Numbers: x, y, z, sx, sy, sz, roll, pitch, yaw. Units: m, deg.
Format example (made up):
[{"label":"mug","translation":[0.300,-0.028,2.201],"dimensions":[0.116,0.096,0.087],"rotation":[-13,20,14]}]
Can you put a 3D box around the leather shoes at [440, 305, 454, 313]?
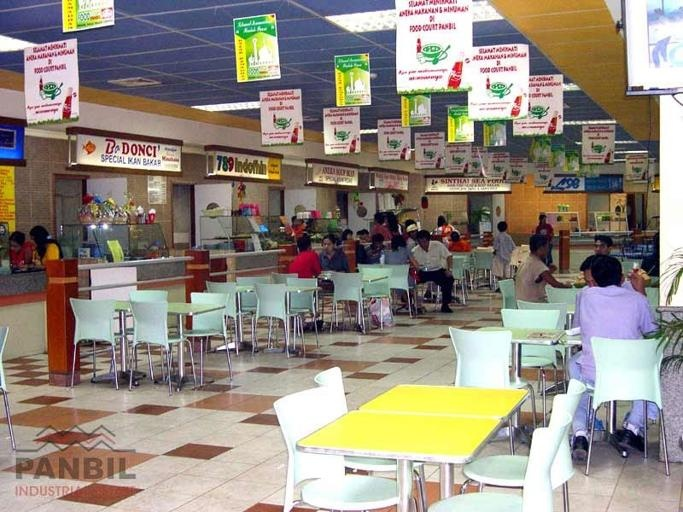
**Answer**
[{"label":"leather shoes","translation":[2.016,0.981,11.797],"dimensions":[0.214,0.139,0.313],"rotation":[-1,4,10]}]

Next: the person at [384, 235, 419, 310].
[{"label":"person","translation":[1.102,0.141,11.799],"dimensions":[0.550,1.411,0.497],"rotation":[-8,40,7]}]

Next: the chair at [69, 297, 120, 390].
[{"label":"chair","translation":[-2.817,0.976,6.997],"dimensions":[0.587,1.019,0.453],"rotation":[-2,4,-8]}]

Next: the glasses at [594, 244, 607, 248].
[{"label":"glasses","translation":[3.106,-0.123,7.421],"dimensions":[0.090,0.056,0.168],"rotation":[-2,4,-11]}]

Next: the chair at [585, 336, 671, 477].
[{"label":"chair","translation":[2.144,1.064,4.615],"dimensions":[0.553,0.989,0.780],"rotation":[1,5,28]}]

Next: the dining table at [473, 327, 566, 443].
[{"label":"dining table","translation":[1.511,0.981,5.210],"dimensions":[0.811,0.802,0.815],"rotation":[1,6,16]}]

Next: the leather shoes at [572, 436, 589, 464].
[{"label":"leather shoes","translation":[1.796,1.446,4.646],"dimensions":[0.084,0.152,0.280],"rotation":[0,8,12]}]

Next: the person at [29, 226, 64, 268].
[{"label":"person","translation":[-4.339,-0.154,9.148],"dimensions":[0.392,0.564,0.757],"rotation":[-4,5,-30]}]

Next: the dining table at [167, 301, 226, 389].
[{"label":"dining table","translation":[-1.781,0.974,7.052],"dimensions":[0.833,0.808,0.840],"rotation":[1,1,19]}]

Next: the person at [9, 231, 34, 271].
[{"label":"person","translation":[-4.712,-0.080,9.119],"dimensions":[0.315,0.529,0.744],"rotation":[-4,5,-28]}]

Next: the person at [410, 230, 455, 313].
[{"label":"person","translation":[1.722,0.241,11.921],"dimensions":[0.990,1.453,0.859],"rotation":[-2,8,27]}]

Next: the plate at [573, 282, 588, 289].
[{"label":"plate","translation":[2.764,0.344,7.151],"dimensions":[0.132,0.056,0.145],"rotation":[0,-1,2]}]

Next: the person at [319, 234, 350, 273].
[{"label":"person","translation":[-0.188,0.070,10.743],"dimensions":[0.626,0.888,0.446],"rotation":[-2,8,7]}]
